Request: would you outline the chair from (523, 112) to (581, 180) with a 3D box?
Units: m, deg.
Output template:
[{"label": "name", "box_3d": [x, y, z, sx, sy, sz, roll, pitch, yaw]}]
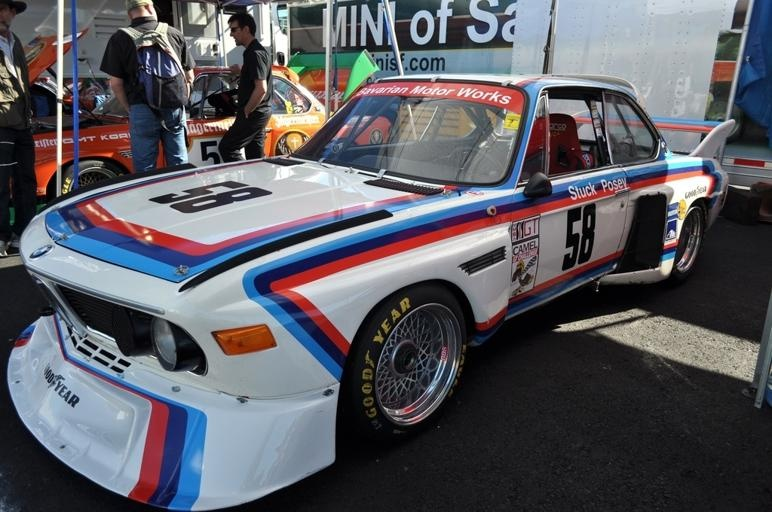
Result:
[{"label": "chair", "box_3d": [1.593, -0.935, 4.624, 0.509, 0.628, 0.448, -21, -2, 35]}]

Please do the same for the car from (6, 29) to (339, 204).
[{"label": "car", "box_3d": [-2.845, -1.659, 7.026, 4.267, 1.596, 2.293, -11, 23, -35]}]

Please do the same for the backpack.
[{"label": "backpack", "box_3d": [-2.402, -2.003, 5.300, 0.478, 0.823, 0.432, -23, 33, -37]}]
